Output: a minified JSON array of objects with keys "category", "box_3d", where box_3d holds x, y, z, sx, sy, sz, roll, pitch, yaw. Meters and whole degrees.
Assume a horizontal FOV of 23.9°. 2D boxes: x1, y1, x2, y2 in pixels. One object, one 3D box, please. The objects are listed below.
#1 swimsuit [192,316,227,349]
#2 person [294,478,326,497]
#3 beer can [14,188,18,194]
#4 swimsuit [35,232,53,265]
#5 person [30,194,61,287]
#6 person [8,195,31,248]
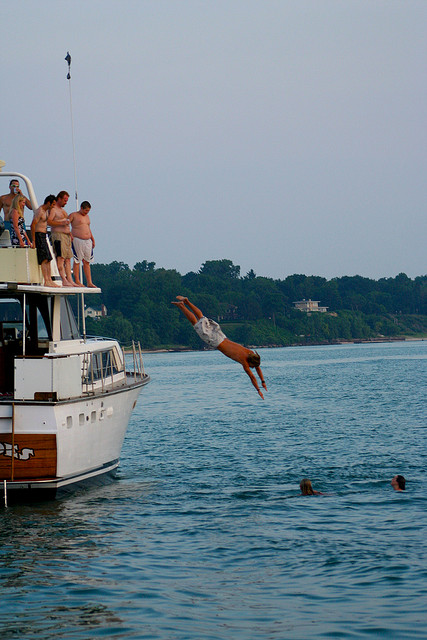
[{"category":"swimsuit","box_3d":[-0.078,0.201,15.090,0.356,0.540,0.217,-50,21,-21]},{"category":"person","box_3d":[1.948,3.360,20.270,0.621,0.320,0.780,-1,0,8]},{"category":"beer can","box_3d":[-3.780,-2.456,19.219,0.058,0.105,0.099,-1,0,-11]},{"category":"swimsuit","box_3d":[-3.153,-1.323,18.587,0.174,0.562,0.480,-1,0,16]},{"category":"person","box_3d":[-3.164,-1.442,18.664,0.443,1.647,0.807,-1,0,-11]},{"category":"person","box_3d":[-3.637,-1.841,18.779,0.390,0.983,1.029,-1,0,-12]}]
